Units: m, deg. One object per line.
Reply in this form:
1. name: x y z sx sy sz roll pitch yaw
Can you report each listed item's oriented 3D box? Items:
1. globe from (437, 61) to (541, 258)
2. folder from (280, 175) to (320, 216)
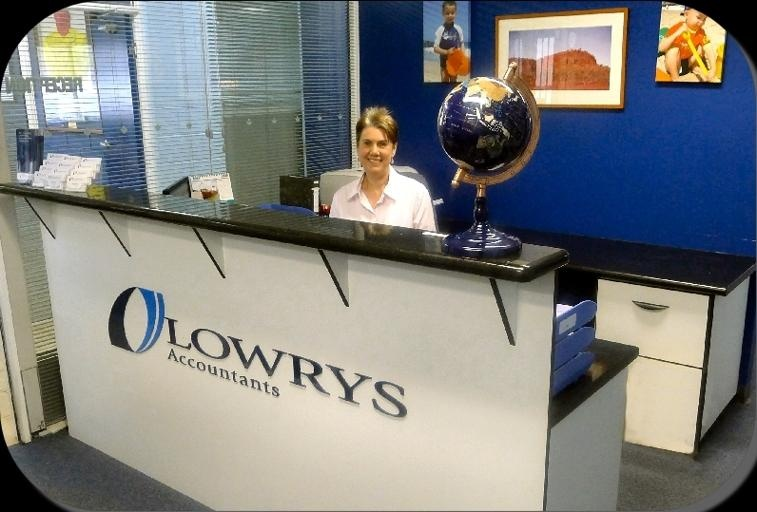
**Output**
1. globe: 0.444 -0.396 2.556 0.408 0.799 0.253 5 11 5
2. folder: -0.653 -0.502 5.218 0.370 0.327 0.126 10 14 42
